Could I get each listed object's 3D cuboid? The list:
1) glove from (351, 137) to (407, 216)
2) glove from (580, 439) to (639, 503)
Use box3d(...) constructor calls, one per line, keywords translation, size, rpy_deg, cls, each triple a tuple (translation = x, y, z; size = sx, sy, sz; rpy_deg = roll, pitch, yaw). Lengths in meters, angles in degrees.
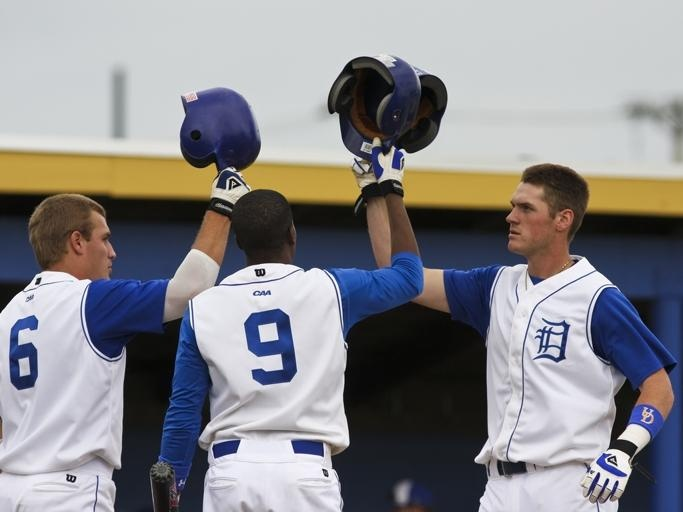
box3d(translation=(0.245, -0.530, 10.328), size=(0.326, 0.485, 0.224), rpy_deg=(0, 10, 22), cls="glove")
box3d(translation=(1.684, 1.390, 9.971), size=(0.264, 0.409, 0.160), rpy_deg=(20, 0, 16), cls="glove")
